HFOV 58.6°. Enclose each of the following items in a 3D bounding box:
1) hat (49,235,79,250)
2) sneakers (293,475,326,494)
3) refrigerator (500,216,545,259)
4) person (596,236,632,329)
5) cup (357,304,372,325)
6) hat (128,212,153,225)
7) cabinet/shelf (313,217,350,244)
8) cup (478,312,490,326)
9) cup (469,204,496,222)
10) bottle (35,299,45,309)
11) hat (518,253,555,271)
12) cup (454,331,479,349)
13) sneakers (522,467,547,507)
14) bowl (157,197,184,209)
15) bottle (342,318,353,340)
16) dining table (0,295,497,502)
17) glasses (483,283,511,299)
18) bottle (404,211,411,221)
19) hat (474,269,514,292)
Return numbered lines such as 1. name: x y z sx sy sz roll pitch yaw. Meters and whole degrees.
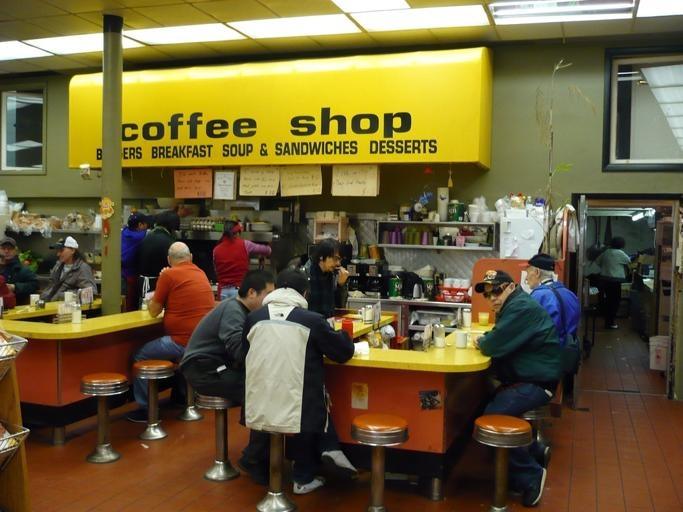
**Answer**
1. hat: -4.054 -0.196 8.851 0.363 0.191 0.220 2 -3 -28
2. sneakers: -0.284 1.962 5.239 0.101 0.113 0.287 4 11 32
3. refrigerator: 2.358 -0.243 8.005 0.633 0.640 0.489 1 2 18
4. person: 5.705 0.577 12.726 0.617 1.864 1.147 3 5 24
5. cup: 0.251 0.626 6.607 0.163 0.164 0.118 1 4 4
6. hat: -2.814 -0.516 8.490 0.274 0.143 0.190 -4 7 -29
7. cabinet/shelf: -0.174 -0.404 9.139 0.475 0.480 0.356 0 -2 15
8. cup: 1.671 0.741 7.124 0.145 0.152 0.141 0 4 0
9. cup: 1.977 -0.577 8.534 0.254 0.188 0.263 -2 -1 0
10. bottle: -3.605 0.576 7.260 0.122 0.119 0.067 2 2 2
11. hat: 2.123 0.069 6.449 0.232 0.121 0.164 18 13 40
12. cup: 1.183 0.786 5.759 0.139 0.178 0.345 0 -2 27
13. sneakers: 1.660 1.933 5.175 0.141 0.363 0.129 30 -24 -16
14. bowl: -2.834 -0.855 10.001 0.490 0.191 0.134 3 5 21
15. bottle: 0.035 0.688 5.645 0.127 0.235 0.134 -1 2 0
16. dining table: -1.012 1.292 6.355 4.932 1.201 2.767 3 6 13
17. glasses: 1.416 0.312 5.481 0.176 0.080 0.107 -2 -23 -39
18. bottle: 0.955 -0.561 8.701 0.101 0.193 0.111 2 -2 0
19. hat: 1.404 0.236 5.541 0.325 0.171 0.204 -2 -7 -8
